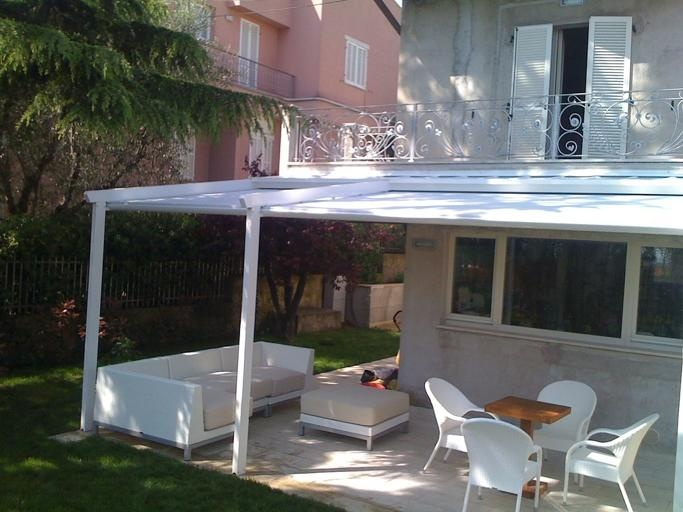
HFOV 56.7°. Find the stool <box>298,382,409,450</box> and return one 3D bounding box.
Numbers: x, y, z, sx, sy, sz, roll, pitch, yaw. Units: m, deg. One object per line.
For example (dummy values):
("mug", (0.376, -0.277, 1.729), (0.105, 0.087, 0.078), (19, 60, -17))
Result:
("stool", (0.193, 2.664, 11.455), (1.541, 0.965, 1.647), (5, 5, 37))

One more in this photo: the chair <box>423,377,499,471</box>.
("chair", (1.858, 2.838, 10.340), (1.065, 1.505, 1.108), (2, 4, 27))

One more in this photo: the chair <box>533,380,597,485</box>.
("chair", (3.506, 2.805, 10.250), (0.972, 1.605, 0.994), (1, -1, 36))
